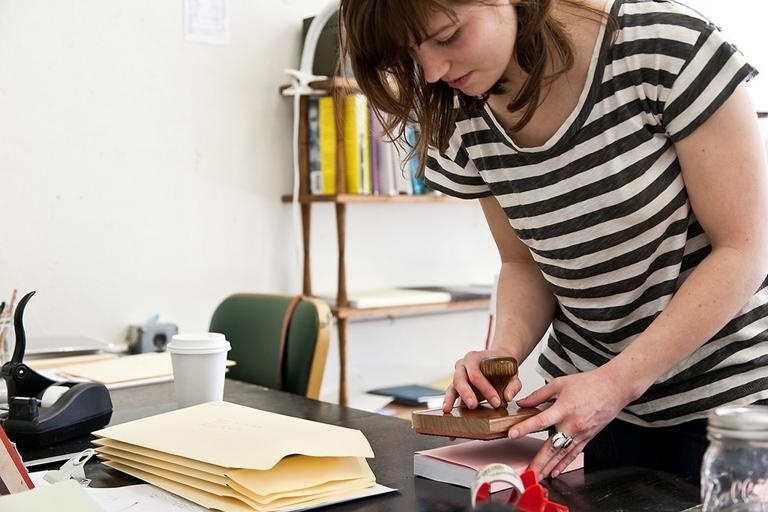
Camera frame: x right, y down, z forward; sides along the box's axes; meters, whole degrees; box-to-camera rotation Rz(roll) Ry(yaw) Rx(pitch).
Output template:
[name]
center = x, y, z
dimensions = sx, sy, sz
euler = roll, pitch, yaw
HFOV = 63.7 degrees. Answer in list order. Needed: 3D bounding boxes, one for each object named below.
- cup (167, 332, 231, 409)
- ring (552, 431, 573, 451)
[cup]
center = -0.386, 0.234, 1.328
dimensions = 0.138, 0.134, 0.140
euler = 2, 4, 0
[ring]
center = 0.270, 0.281, 0.943
dimensions = 0.032, 0.022, 0.024
euler = 9, -9, -15
